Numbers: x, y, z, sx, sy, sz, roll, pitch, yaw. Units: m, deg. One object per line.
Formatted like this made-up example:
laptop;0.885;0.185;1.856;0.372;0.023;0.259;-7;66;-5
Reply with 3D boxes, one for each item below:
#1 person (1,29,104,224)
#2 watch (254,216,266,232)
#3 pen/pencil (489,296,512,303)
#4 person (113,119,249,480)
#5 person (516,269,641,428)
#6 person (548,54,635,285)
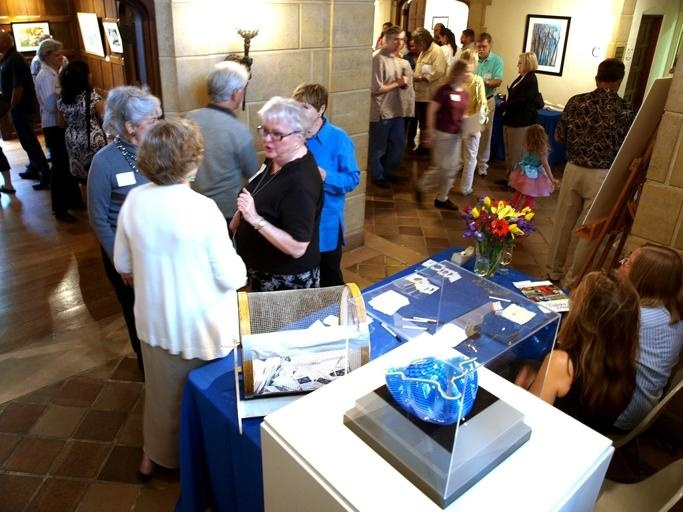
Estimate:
person;-2.962;-1.298;5.144;0.693;1.900;1.548;-16;29;-29
watch;-0.418;-0.163;2.421;0.061;0.061;0.059;-27;12;-39
pen/pencil;0.791;0.215;2.350;0.016;0.016;0.108;-37;29;-33
person;-0.765;0.298;2.287;0.632;1.809;0.299;4;26;11
person;1.109;0.484;2.202;0.480;0.777;0.271;-6;26;-12
person;2.284;-0.732;4.425;0.551;2.027;0.682;5;26;12
